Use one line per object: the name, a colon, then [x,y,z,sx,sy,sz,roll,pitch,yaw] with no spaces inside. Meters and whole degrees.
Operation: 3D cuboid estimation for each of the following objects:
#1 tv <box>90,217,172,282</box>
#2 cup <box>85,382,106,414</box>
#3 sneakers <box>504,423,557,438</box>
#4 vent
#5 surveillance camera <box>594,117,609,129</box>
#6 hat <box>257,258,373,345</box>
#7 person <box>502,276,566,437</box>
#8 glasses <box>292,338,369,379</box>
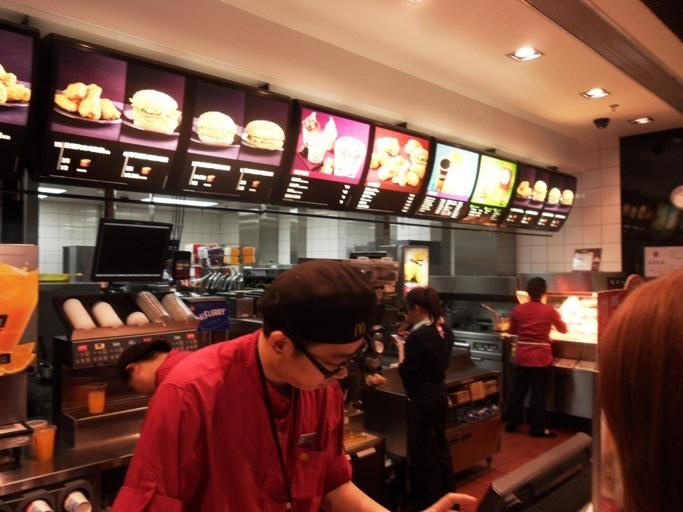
tv: [-1.261,-0.036,2.857,0.587,0.426,0.057,1,22,-44]
cup: [-1.310,0.752,2.529,0.077,0.138,0.093,1,1,-29]
sneakers: [2.170,1.960,5.373,0.599,0.201,0.168,-2,0,7]
vent: [1.921,0.126,6.995,1.445,1.101,0.670,1,-3,4]
surveillance camera: [3.329,-1.709,6.045,0.197,0.066,0.175,1,-9,1]
hat: [-0.052,0.107,1.292,0.306,0.153,0.218,2,10,19]
person: [2.210,1.114,5.377,0.592,1.429,0.383,2,1,18]
glasses: [-0.038,0.273,1.296,0.146,0.040,0.147,44,20,21]
